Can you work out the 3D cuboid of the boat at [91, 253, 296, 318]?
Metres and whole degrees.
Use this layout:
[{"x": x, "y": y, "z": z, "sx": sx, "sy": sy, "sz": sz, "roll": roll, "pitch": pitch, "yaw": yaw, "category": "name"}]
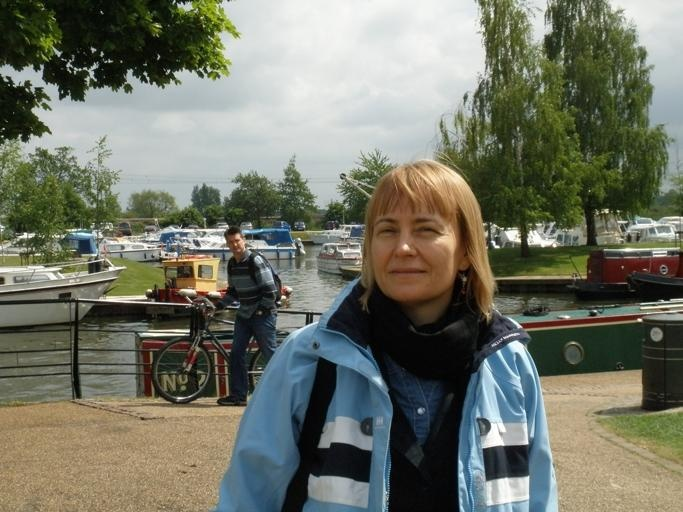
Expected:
[{"x": -6.874, "y": 1.182, "z": 33.279, "sx": 7.047, "sy": 2.946, "sz": 4.389, "roll": 1, "pitch": -1, "yaw": -8, "category": "boat"}]
